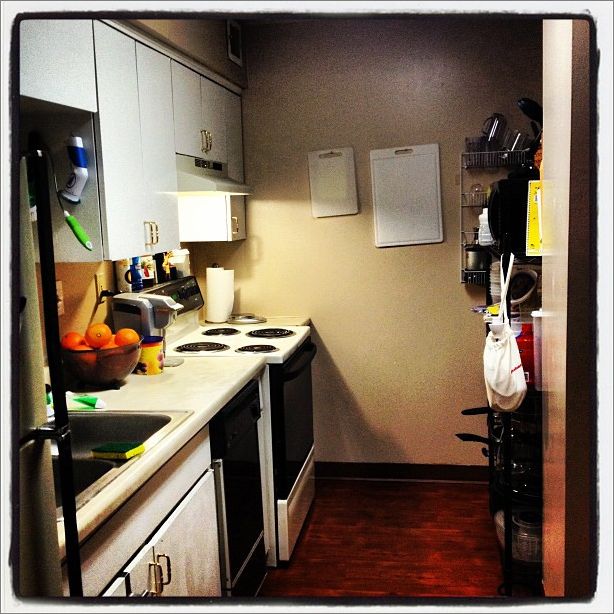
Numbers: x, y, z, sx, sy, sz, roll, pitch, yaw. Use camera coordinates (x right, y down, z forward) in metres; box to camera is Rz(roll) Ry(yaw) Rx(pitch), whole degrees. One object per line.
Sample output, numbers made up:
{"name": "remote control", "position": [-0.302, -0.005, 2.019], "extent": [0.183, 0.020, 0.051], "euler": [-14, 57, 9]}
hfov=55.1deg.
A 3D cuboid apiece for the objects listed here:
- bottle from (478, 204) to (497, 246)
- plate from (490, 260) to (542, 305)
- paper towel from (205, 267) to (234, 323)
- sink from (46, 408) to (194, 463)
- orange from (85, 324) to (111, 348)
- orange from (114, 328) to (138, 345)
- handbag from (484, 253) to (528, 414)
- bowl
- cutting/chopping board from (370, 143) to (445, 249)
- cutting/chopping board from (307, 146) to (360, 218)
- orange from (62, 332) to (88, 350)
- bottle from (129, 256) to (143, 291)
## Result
{"name": "bottle", "position": [0.719, -0.316, 2.336], "extent": [0.052, 0.155, 0.242], "euler": [0, 7, 17]}
{"name": "plate", "position": [0.781, -0.084, 2.187], "extent": [0.146, 0.198, 0.069], "euler": [-2, -3, 8]}
{"name": "paper towel", "position": [-0.480, -0.063, 3.219], "extent": [0.160, 0.306, 0.149], "euler": [-3, 7, -12]}
{"name": "sink", "position": [-0.505, 0.332, 1.549], "extent": [0.228, 0.094, 0.192], "euler": [2, 5, 7]}
{"name": "orange", "position": [-0.653, 0.089, 1.815], "extent": [0.087, 0.077, 0.078], "euler": [-3, 7, -8]}
{"name": "orange", "position": [-0.580, 0.093, 1.884], "extent": [0.055, 0.058, 0.057], "euler": [-11, 12, -35]}
{"name": "handbag", "position": [0.597, 0.100, 1.756], "extent": [0.114, 0.506, 0.206], "euler": [0, 7, 19]}
{"name": "bowl", "position": [-0.673, 0.182, 1.917], "extent": [0.253, 0.169, 0.255], "euler": [0, 5, 0]}
{"name": "cutting/chopping board", "position": [0.564, -0.618, 3.190], "extent": [0.510, 0.743, 0.027], "euler": [-3, 7, 14]}
{"name": "cutting/chopping board", "position": [0.159, -0.705, 3.259], "extent": [0.346, 0.507, 0.052], "euler": [-3, 14, 17]}
{"name": "orange", "position": [-0.721, 0.108, 1.822], "extent": [0.030, 0.032, 0.038], "euler": [17, -10, 42]}
{"name": "bottle", "position": [-0.697, -0.133, 2.412], "extent": [0.036, 0.136, 0.110], "euler": [-1, 7, 4]}
